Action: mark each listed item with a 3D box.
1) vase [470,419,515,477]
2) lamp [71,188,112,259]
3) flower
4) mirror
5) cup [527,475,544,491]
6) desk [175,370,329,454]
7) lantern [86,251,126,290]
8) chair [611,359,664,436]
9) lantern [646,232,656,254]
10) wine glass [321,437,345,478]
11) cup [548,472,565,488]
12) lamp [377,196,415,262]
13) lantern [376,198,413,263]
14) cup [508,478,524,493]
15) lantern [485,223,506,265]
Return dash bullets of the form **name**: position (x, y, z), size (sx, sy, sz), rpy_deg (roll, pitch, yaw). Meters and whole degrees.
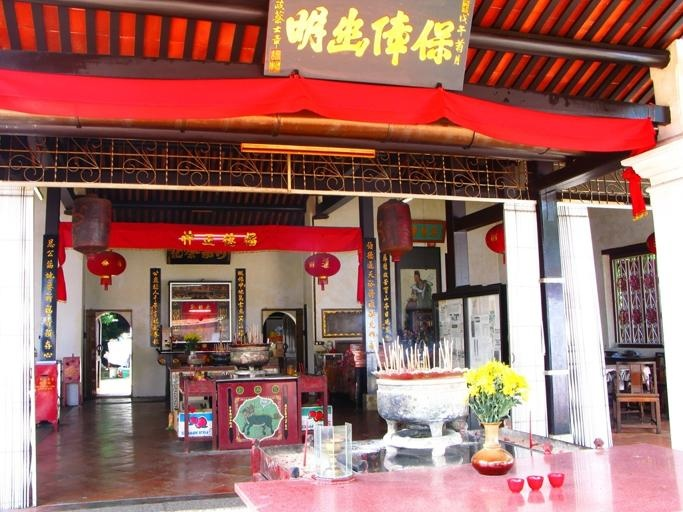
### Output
- **vase**: position (0.862, 1.103, 3.269), size (0.229, 0.274, 0.230), rpy_deg (-5, -6, 38)
- **lamp**: position (-2.614, -0.327, 6.044), size (0.385, 0.637, 0.383), rpy_deg (0, -9, 22)
- **flower**: position (0.898, 0.857, 3.434), size (0.399, 0.439, 0.437), rpy_deg (0, -6, 19)
- **mirror**: position (-3.224, 1.258, 12.904), size (1.297, 1.252, 0.464), rpy_deg (2, -7, -17)
- **cup**: position (0.991, 1.151, 2.919), size (0.069, 0.051, 0.070), rpy_deg (-2, -15, -1)
- **desk**: position (-1.073, 1.830, 6.703), size (1.581, 0.779, 0.870), rpy_deg (0, 0, -8)
- **lantern**: position (-3.679, 0.157, 8.998), size (0.510, 0.789, 0.499), rpy_deg (11, 6, 31)
- **chair**: position (4.039, 1.901, 7.840), size (0.720, 0.941, 0.719), rpy_deg (8, -12, -25)
- **lantern**: position (4.251, -0.201, 7.842), size (0.086, 0.257, 0.980), rpy_deg (-7, -4, 27)
- **wine glass**: position (-0.042, 1.108, 3.176), size (0.191, 0.209, 0.161), rpy_deg (0, -8, 1)
- **cup**: position (1.109, 1.158, 2.956), size (0.067, 0.053, 0.068), rpy_deg (-2, -12, 0)
- **lamp**: position (0.606, -0.304, 6.598), size (0.411, 0.754, 0.414), rpy_deg (-8, -10, 15)
- **lantern**: position (0.586, -0.301, 6.532), size (0.403, 0.687, 0.343), rpy_deg (-7, -4, 19)
- **cup**: position (0.883, 1.156, 2.895), size (0.068, 0.050, 0.069), rpy_deg (-1, -11, 0)
- **lantern**: position (2.173, -0.260, 8.071), size (0.229, 0.389, 1.170), rpy_deg (-6, -3, 14)
